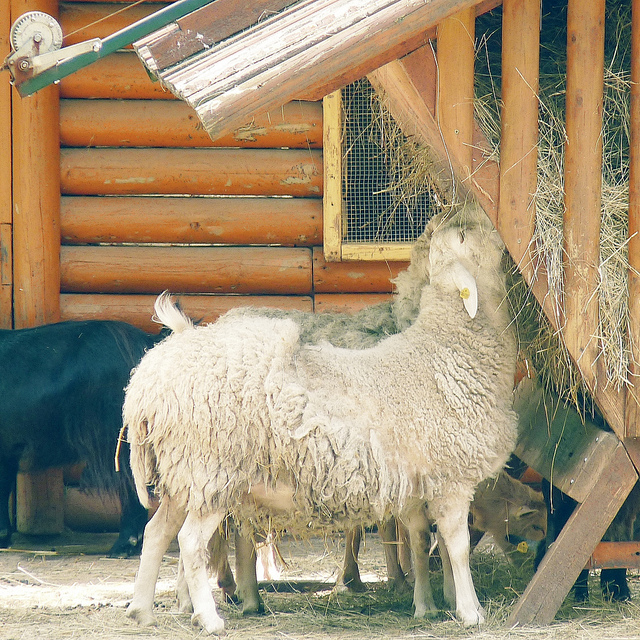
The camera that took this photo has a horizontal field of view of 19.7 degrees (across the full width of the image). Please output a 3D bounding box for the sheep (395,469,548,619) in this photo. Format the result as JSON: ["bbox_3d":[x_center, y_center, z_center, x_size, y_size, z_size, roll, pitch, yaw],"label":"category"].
[{"bbox_3d":[0.681,1.134,9.672,0.285,0.734,0.801,7,-18,-31],"label":"sheep"}]
